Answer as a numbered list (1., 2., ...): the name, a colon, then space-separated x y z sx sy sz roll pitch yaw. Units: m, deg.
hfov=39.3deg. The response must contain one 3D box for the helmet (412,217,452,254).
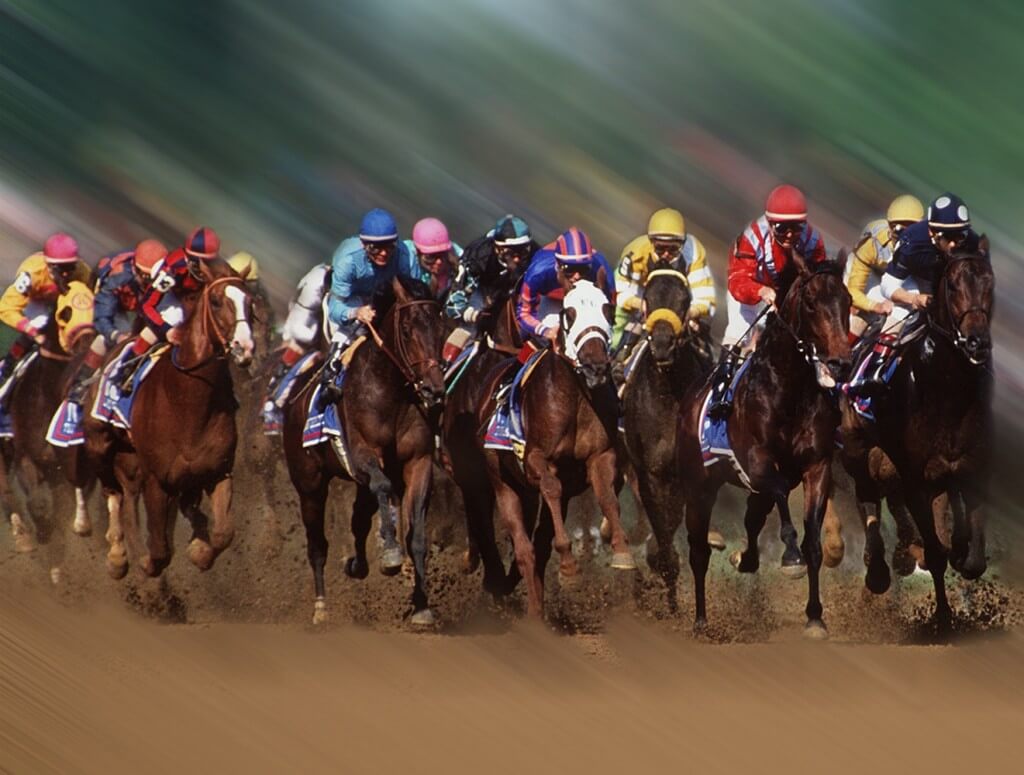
1. helmet: -0.687 -1.281 12.074 0.298 0.294 0.315 -2 8 -2

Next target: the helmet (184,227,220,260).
1. helmet: -2.533 -1.170 11.663 0.251 0.264 0.436 -3 8 -14

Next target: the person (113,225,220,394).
1. person: -2.812 -0.553 11.779 0.343 1.258 0.627 32 21 -31

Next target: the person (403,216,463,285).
1. person: -0.660 -1.208 12.100 0.489 0.365 0.708 1 18 3

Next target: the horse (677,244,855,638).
1. horse: 1.966 0.528 10.886 0.490 3.076 1.790 -5 8 -27

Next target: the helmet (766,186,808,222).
1. helmet: 2.081 -1.403 10.898 0.291 0.265 0.498 0 8 8

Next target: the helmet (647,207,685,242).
1. helmet: 1.319 -1.382 12.195 0.293 0.279 0.436 -1 8 4

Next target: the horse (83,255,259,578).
1. horse: -3.057 0.472 12.361 0.855 2.584 3.566 0 -6 -34

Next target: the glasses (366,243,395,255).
1. glasses: -1.073 -1.126 11.610 0.217 0.111 0.135 -4 8 -15

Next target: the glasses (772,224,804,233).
1. glasses: 2.088 -1.212 10.868 0.202 0.070 0.074 0 8 12

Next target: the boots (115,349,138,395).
1. boots: -3.280 -0.121 12.181 0.121 0.103 0.386 -19 43 1

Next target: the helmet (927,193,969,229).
1. helmet: 3.358 -1.351 11.014 0.307 0.268 0.351 1 8 17

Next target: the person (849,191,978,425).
1. person: 3.019 -0.933 11.517 1.314 1.017 0.487 -9 -7 -20

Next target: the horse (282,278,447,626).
1. horse: -1.111 0.562 11.687 0.797 2.930 1.981 -6 9 -29

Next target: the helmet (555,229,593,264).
1. helmet: 0.474 -1.085 11.016 0.280 0.261 0.270 -1 8 1

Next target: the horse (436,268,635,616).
1. horse: 0.268 0.404 11.742 0.977 2.338 3.225 -4 1 -20

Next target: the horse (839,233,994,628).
1. horse: 3.337 0.356 11.512 0.740 3.148 1.698 -4 8 -17
